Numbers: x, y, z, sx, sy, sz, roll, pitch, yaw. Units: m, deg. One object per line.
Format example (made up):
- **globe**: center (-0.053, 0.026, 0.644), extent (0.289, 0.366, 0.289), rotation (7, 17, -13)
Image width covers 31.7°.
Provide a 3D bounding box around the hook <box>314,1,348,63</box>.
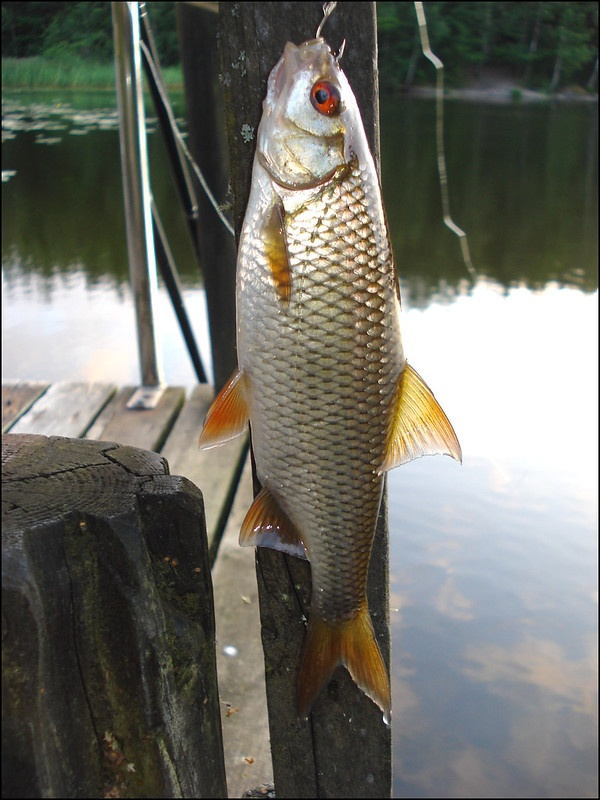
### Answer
- **hook**: center (0.065, -0.799, 2.341), extent (0.059, 0.129, 0.082), rotation (1, 10, -39)
